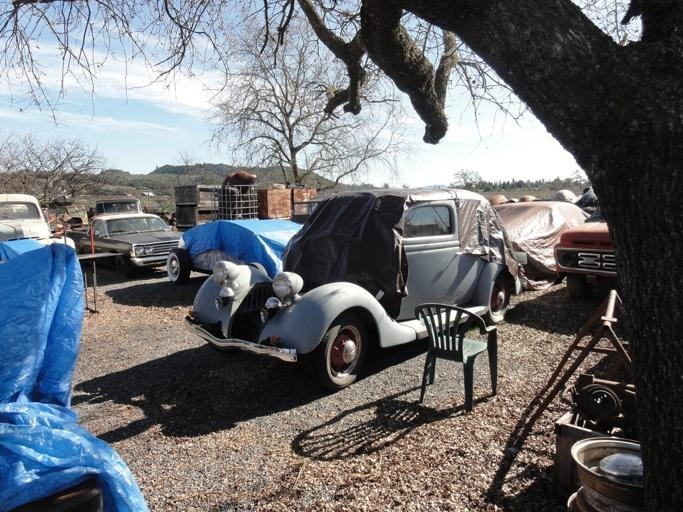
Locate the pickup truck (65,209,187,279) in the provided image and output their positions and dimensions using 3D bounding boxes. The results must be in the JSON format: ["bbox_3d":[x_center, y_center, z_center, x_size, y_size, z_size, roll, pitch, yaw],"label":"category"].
[{"bbox_3d":[-5.399,-0.326,12.116,3.101,1.163,1.602,6,9,43],"label":"pickup truck"}]

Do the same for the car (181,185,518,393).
[{"bbox_3d":[0.222,0.229,5.845,3.556,1.587,2.231,-5,3,-42],"label":"car"}]

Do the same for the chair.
[{"bbox_3d":[1.173,0.945,4.795,0.788,1.028,0.773,0,6,11],"label":"chair"}]
